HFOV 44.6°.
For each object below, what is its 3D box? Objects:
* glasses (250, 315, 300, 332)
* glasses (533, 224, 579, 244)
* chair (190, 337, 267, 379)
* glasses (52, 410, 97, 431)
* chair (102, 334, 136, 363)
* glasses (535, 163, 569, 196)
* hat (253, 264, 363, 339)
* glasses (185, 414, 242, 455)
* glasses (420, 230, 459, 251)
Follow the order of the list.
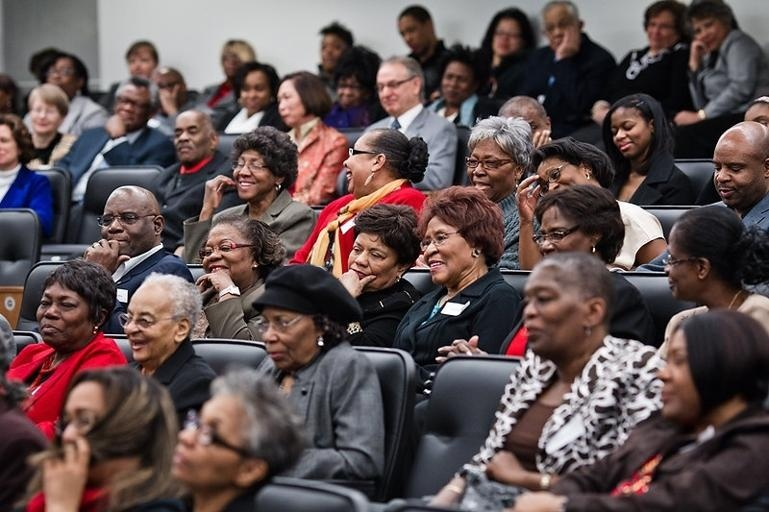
[{"bbox_3d":[-0.515,0.313,4.400,0.240,0.082,0.067,3,2,34],"label":"glasses"},{"bbox_3d":[0.853,-0.108,4.651,0.190,0.092,0.071,4,2,40],"label":"glasses"},{"bbox_3d":[-0.773,0.487,4.716,0.227,0.218,0.261,-4,-42,3],"label":"chair"},{"bbox_3d":[-1.204,0.651,3.655,0.094,0.046,0.119,-2,11,12],"label":"glasses"},{"bbox_3d":[-1.412,0.479,5.019,0.106,0.136,0.149,-10,34,1],"label":"chair"},{"bbox_3d":[0.958,-0.457,5.495,0.096,0.177,0.211,2,2,-26],"label":"glasses"},{"bbox_3d":[-0.363,0.221,4.444,0.409,0.177,0.288,22,-11,-16],"label":"hat"},{"bbox_3d":[-0.726,0.769,3.997,0.215,0.056,0.158,26,-2,-17],"label":"glasses"},{"bbox_3d":[0.277,-0.090,5.147,0.125,0.106,0.247,2,1,-33],"label":"glasses"}]
